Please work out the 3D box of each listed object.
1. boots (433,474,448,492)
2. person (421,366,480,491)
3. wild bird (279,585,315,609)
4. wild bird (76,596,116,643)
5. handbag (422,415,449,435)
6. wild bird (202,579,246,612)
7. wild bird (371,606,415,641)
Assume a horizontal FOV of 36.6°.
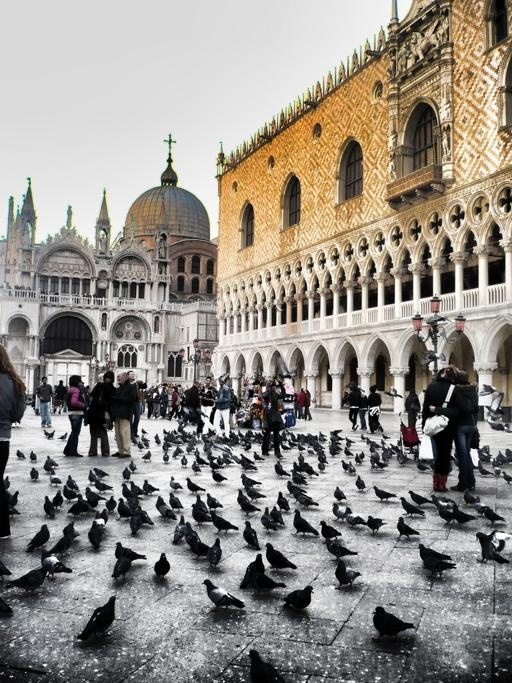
[{"bbox_3d":[2.164,1.648,9.016,0.139,0.224,0.198,2,1,30],"label":"boots"},{"bbox_3d":[2.267,1.082,8.978,0.511,1.548,0.436,0,-30,10],"label":"person"},{"bbox_3d":[0.250,1.581,4.781,0.210,0.214,0.132,9,-16,2],"label":"wild bird"},{"bbox_3d":[-0.896,1.586,4.395,0.296,0.227,0.194,5,-7,-43],"label":"wild bird"},{"bbox_3d":[2.045,0.954,8.674,0.230,0.226,0.095,-27,-24,19],"label":"handbag"},{"bbox_3d":[-0.196,1.587,4.780,0.249,0.185,0.355,0,-6,2],"label":"wild bird"},{"bbox_3d":[0.785,1.604,4.402,0.211,0.201,0.306,-1,-6,10],"label":"wild bird"}]
